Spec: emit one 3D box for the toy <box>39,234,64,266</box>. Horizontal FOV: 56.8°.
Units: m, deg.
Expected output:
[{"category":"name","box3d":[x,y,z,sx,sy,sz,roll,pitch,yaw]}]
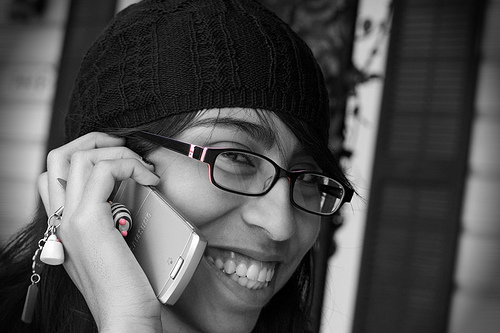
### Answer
[{"category":"toy","box3d":[-0.772,0.329,1.815,0.092,0.120,0.099,2,-12,4]}]
